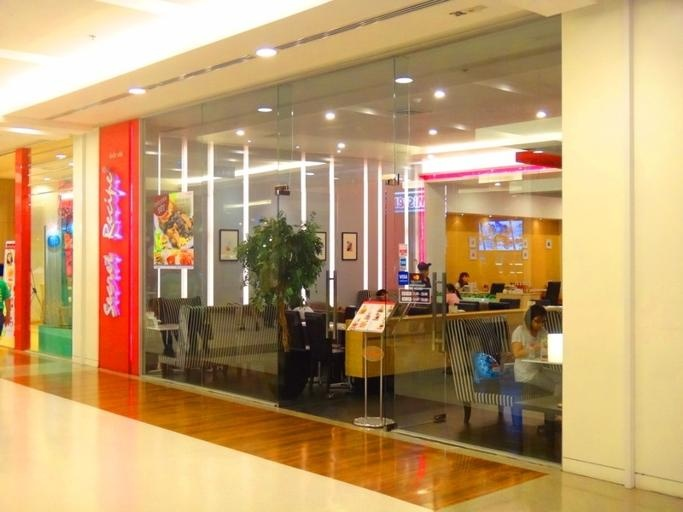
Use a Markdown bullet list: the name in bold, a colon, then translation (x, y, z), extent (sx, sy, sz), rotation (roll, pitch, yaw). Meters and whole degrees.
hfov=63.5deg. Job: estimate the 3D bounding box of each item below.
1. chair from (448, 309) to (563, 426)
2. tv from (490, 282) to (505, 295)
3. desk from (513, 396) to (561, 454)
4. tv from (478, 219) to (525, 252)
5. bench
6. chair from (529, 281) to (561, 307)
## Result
- **chair**: translation (1.537, 0.977, 5.242), extent (0.873, 1.204, 1.076), rotation (1, -6, -30)
- **tv**: translation (1.416, 0.290, 5.046), extent (0.103, 0.183, 0.105), rotation (2, 9, 7)
- **desk**: translation (1.710, 1.497, 4.966), extent (0.439, 0.484, 0.503), rotation (-3, -4, 16)
- **tv**: translation (1.442, -0.188, 4.987), extent (0.403, 0.289, 0.144), rotation (0, 3, 24)
- **bench**: translation (-1.721, 1.126, 7.623), extent (1.460, 0.814, 1.468), rotation (2, -4, -33)
- **chair**: translation (1.724, 0.330, 4.760), extent (0.197, 0.332, 0.185), rotation (3, 0, -37)
